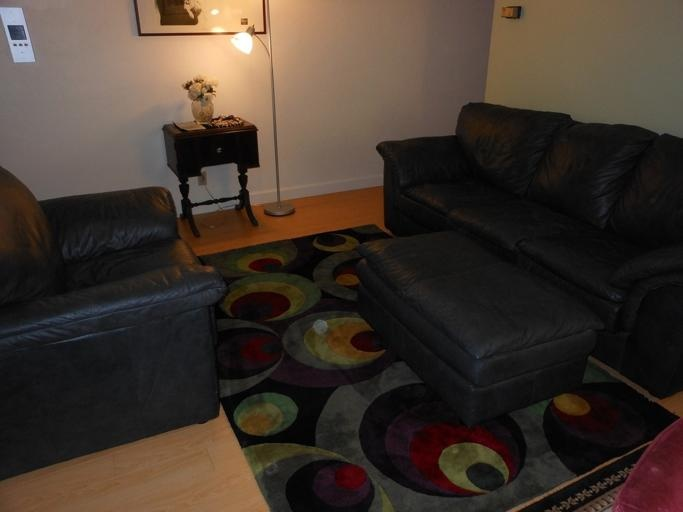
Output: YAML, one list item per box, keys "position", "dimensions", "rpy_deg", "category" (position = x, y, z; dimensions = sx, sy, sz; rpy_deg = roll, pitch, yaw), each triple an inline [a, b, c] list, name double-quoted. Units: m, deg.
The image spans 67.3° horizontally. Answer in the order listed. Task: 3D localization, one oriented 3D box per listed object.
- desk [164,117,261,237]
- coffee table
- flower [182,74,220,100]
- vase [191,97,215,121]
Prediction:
- position: [-1.062, -0.657, 4.135]
  dimensions: [0.695, 0.771, 0.568]
  rpy_deg: [-15, 37, -25]
  category: "desk"
- position: [0.729, 0.269, 2.532]
  dimensions: [0.757, 0.567, 1.136]
  rpy_deg: [-13, 30, -19]
  category: "coffee table"
- position: [-1.109, -1.348, 3.987]
  dimensions: [0.211, 0.099, 0.218]
  rpy_deg: [-7, 31, -12]
  category: "flower"
- position: [-1.064, -1.147, 4.001]
  dimensions: [0.158, 0.192, 0.159]
  rpy_deg: [-14, 39, -27]
  category: "vase"
